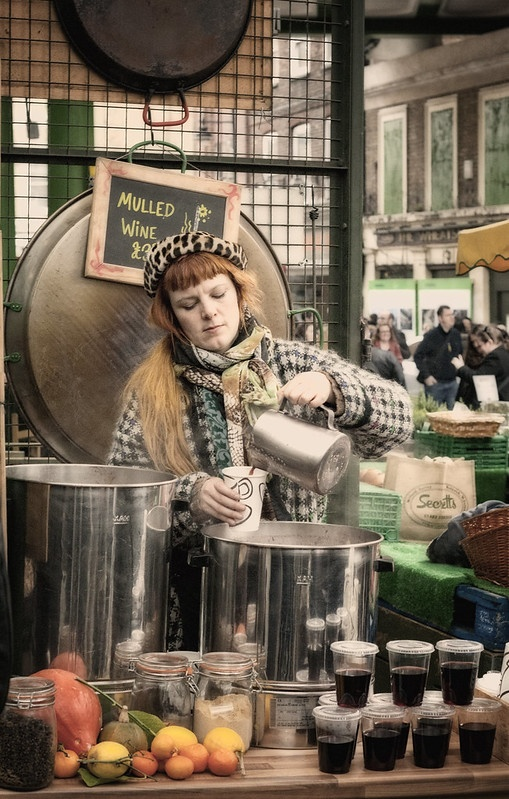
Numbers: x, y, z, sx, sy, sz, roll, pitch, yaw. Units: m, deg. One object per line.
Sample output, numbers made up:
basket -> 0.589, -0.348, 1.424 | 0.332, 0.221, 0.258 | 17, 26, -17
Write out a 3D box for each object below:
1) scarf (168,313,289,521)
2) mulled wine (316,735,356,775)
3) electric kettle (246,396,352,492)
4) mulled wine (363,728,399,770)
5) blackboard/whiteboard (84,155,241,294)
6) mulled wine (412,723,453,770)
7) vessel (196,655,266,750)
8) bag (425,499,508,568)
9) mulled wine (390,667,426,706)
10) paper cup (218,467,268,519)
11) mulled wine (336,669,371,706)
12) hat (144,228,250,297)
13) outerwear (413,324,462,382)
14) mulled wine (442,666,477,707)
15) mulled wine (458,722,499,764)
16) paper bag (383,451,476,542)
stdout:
scarf -> -0.052, 0.032, 2.217 | 0.272, 0.466, 0.126 | -3, 1, 32
mulled wine -> 0.120, 0.527, 1.419 | 0.051, 0.040, 0.055 | 1, -6, -3
electric kettle -> 0.085, 0.065, 1.781 | 0.177, 0.196, 0.116 | 16, 24, 18
mulled wine -> 0.189, 0.529, 1.453 | 0.053, 0.065, 0.037 | 1, 0, 10
blackboard/whiteboard -> -0.239, -0.453, 2.534 | 0.391, 0.300, 0.025 | 12, 12, 15
mulled wine -> 0.273, 0.533, 1.475 | 0.061, 0.068, 0.033 | 1, 0, -18
vessel -> -0.042, 0.475, 1.525 | 0.104, 0.164, 0.107 | -6, 9, -15
bag -> 0.731, 0.494, 3.393 | 0.222, 0.103, 0.269 | -23, -9, -17
mulled wine -> 0.249, 0.466, 1.559 | 0.055, 0.047, 0.061 | 1, -9, -7
paper cup -> -0.031, 0.192, 1.811 | 0.103, 0.107, 0.107 | 0, -4, 0
mulled wine -> 0.150, 0.442, 1.500 | 0.062, 0.047, 0.055 | -3, -3, 43
hat -> -0.142, -0.314, 2.214 | 0.219, 0.097, 0.243 | 0, -6, -16
outerwear -> 1.972, -0.473, 10.063 | 0.653, 0.570, 0.352 | -6, 14, -20
mulled wine -> 0.338, 0.477, 1.603 | 0.056, 0.061, 0.061 | 7, -16, -23
mulled wine -> 0.346, 0.539, 1.506 | 0.055, 0.048, 0.061 | 3, -10, -15
paper bag -> 0.801, 0.430, 4.103 | 0.381, 0.361, 0.136 | -4, -4, 41
